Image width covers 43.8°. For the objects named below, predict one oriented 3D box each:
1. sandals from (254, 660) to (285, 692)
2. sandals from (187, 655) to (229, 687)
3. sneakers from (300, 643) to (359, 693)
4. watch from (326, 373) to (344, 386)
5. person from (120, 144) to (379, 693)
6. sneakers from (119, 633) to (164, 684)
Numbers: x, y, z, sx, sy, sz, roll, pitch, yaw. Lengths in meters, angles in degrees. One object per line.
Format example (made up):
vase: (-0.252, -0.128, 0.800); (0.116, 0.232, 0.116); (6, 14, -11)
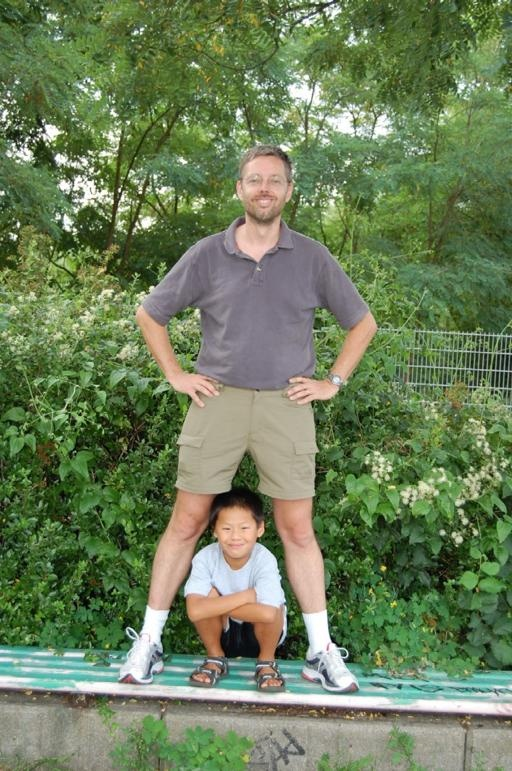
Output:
sandals: (0.043, 0.965, 2.118); (0.075, 0.083, 0.217); (-1, -17, -3)
sandals: (-0.157, 0.968, 2.158); (0.092, 0.068, 0.179); (4, 2, 13)
sneakers: (0.265, 0.978, 2.215); (0.090, 0.106, 0.237); (10, -16, -24)
watch: (0.308, -0.019, 2.457); (0.059, 0.038, 0.062); (29, -9, 2)
person: (-0.012, 0.089, 2.280); (0.896, 1.886, 0.485); (3, 2, -1)
sneakers: (-0.388, 0.943, 2.176); (0.114, 0.142, 0.216); (3, 2, 1)
